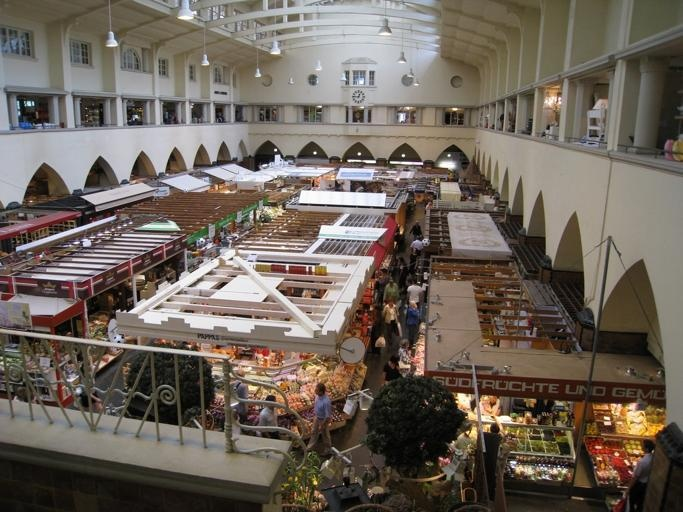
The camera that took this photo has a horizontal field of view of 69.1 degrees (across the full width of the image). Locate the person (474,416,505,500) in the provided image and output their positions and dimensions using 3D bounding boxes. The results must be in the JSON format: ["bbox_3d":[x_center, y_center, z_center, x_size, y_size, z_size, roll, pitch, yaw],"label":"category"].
[{"bbox_3d":[1.719,2.436,5.849,0.281,0.799,0.919,10,-6,17],"label":"person"}]

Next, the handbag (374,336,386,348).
[{"bbox_3d":[0.826,1.823,10.611,0.286,0.266,0.169,1,12,1],"label":"handbag"}]

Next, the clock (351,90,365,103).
[{"bbox_3d":[1.196,-11.601,35.825,0.916,0.851,0.224,0,9,-3],"label":"clock"}]

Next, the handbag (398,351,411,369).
[{"bbox_3d":[1.197,1.975,9.497,0.229,0.305,0.206,10,-6,7],"label":"handbag"}]
